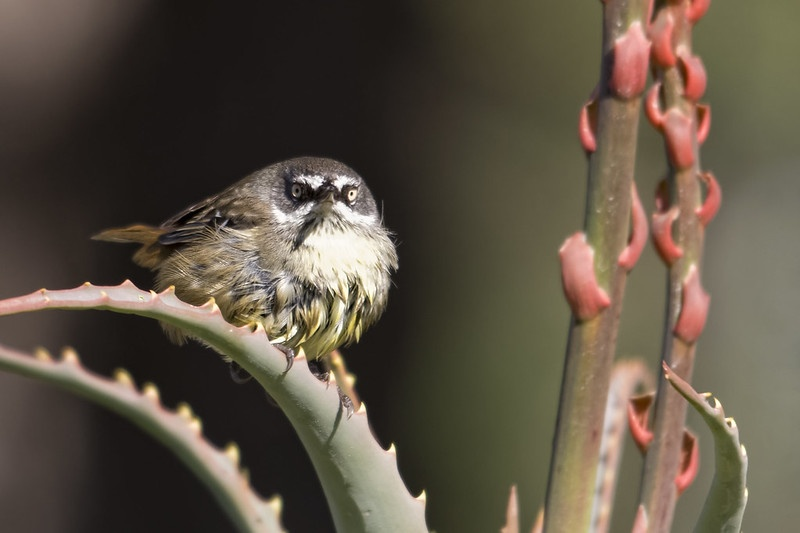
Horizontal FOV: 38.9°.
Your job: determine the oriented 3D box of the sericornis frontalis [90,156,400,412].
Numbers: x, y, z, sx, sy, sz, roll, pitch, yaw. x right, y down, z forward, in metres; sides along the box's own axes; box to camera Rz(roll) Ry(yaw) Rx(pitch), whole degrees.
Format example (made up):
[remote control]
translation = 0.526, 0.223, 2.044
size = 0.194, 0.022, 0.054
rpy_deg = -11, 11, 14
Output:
[sericornis frontalis]
translation = -0.362, -0.060, 3.046
size = 0.498, 0.678, 0.845
rpy_deg = 1, 18, -33
